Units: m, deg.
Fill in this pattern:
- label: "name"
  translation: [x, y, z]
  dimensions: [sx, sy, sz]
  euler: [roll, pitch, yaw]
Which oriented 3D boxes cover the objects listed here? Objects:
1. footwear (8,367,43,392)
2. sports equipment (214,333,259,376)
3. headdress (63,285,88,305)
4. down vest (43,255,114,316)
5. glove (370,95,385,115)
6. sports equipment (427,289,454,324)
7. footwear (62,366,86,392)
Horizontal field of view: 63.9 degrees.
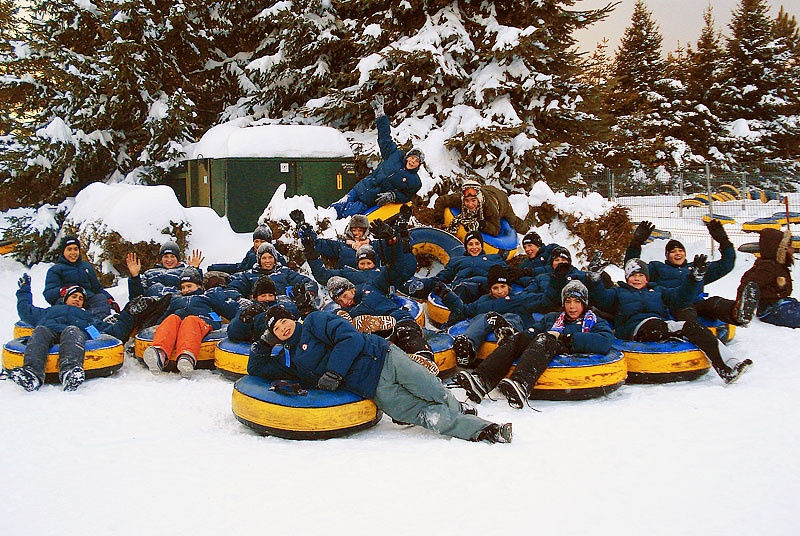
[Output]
- label: "footwear"
  translation: [-5.202, 1.544, 8.975]
  dimensions: [0.263, 0.428, 0.152]
  euler: [-42, 9, 5]
- label: "sports equipment"
  translation: [-2.455, 1.342, 9.556]
  dimensions: [0.566, 0.242, 0.608]
  euler: [11, 18, -7]
- label: "headdress"
  translation: [-5.237, 0.452, 10.389]
  dimensions: [0.269, 0.337, 0.352]
  euler: [10, -21, -33]
- label: "down vest"
  translation: [-5.531, 0.265, 10.928]
  dimensions: [0.834, 0.577, 1.220]
  euler: [4, 21, -44]
- label: "glove"
  translation: [-0.494, -3.447, 13.666]
  dimensions: [0.185, 0.336, 0.435]
  euler: [-2, -11, -13]
- label: "sports equipment"
  translation: [0.653, 0.733, 11.371]
  dimensions: [0.418, 0.502, 0.513]
  euler: [2, -10, -9]
- label: "footwear"
  translation: [-4.563, 1.573, 8.940]
  dimensions: [0.183, 0.448, 0.199]
  euler: [10, 17, -31]
